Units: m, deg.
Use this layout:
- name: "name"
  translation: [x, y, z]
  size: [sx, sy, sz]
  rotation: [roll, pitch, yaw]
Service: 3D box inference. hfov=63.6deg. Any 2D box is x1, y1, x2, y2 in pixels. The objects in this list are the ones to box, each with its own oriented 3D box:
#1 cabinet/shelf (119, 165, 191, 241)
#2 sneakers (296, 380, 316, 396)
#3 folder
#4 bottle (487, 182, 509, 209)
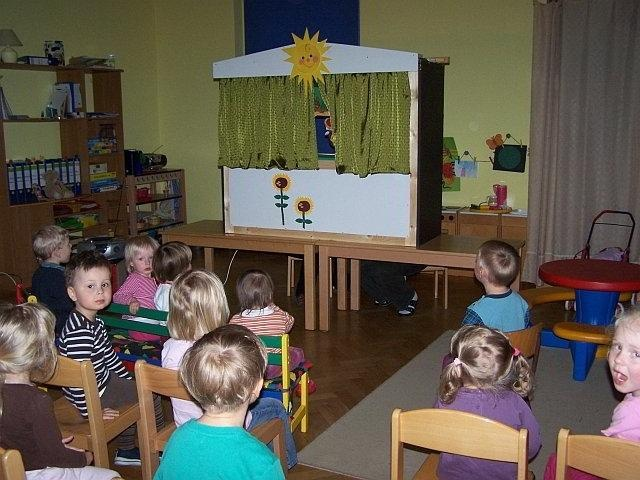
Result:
- name: "cabinet/shelf"
  translation: [-2.094, -0.458, 6.475]
  size: [0.370, 0.923, 0.882]
  rotation: [7, 14, 29]
- name: "sneakers"
  translation: [-0.087, 0.941, 3.262]
  size: [0.115, 0.095, 0.207]
  rotation: [-1, -8, -7]
- name: "folder"
  translation: [-2.978, -0.624, 5.505]
  size: [0.159, 0.315, 0.513]
  rotation: [5, 9, 38]
- name: "bottle"
  translation: [2.069, -0.501, 5.953]
  size: [0.199, 0.247, 0.348]
  rotation: [4, 14, 20]
